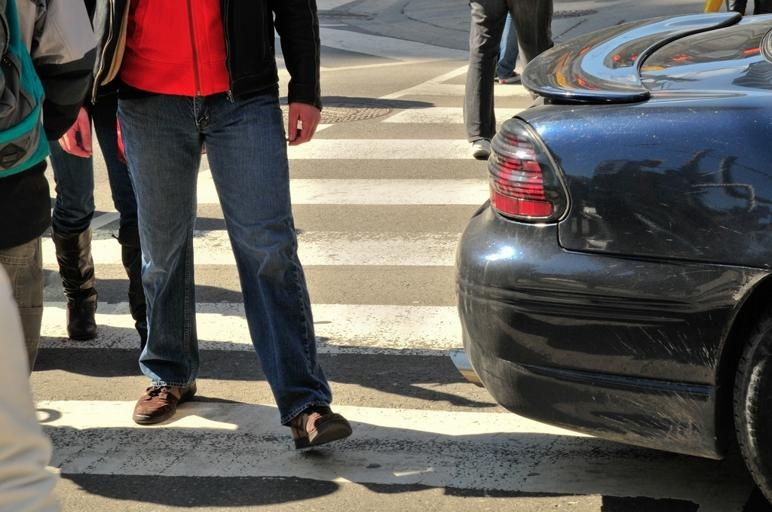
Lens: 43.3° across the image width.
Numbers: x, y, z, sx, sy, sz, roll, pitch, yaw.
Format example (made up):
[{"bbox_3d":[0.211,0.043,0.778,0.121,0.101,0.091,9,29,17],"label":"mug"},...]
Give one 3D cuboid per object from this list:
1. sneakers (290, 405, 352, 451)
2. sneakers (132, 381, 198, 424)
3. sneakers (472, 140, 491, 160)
[{"bbox_3d":[-0.268,0.710,3.993,0.153,0.119,0.298,2,-16,-43],"label":"sneakers"},{"bbox_3d":[-0.992,0.654,4.393,0.134,0.105,0.334,6,9,24],"label":"sneakers"},{"bbox_3d":[0.772,-0.985,7.904,0.175,0.134,0.390,0,4,2],"label":"sneakers"}]
